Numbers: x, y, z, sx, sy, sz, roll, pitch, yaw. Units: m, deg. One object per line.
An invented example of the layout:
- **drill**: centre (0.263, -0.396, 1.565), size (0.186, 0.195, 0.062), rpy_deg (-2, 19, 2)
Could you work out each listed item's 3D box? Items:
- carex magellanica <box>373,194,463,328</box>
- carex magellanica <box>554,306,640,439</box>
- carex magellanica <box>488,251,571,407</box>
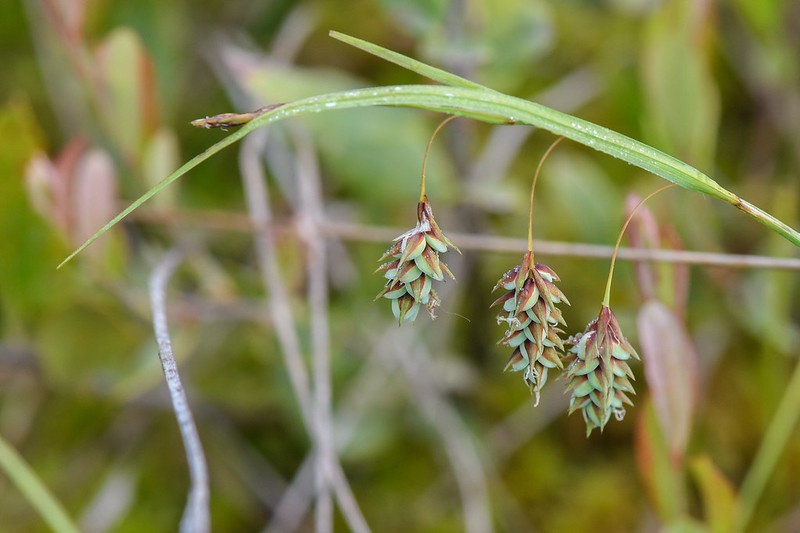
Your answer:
- **carex magellanica**: centre (0.032, -0.015, 1.249), size (0.115, 0.103, 0.177), rpy_deg (7, -92, -54)
- **carex magellanica**: centre (0.292, 0.157, 1.276), size (0.103, 0.109, 0.188), rpy_deg (-3, -70, -16)
- **carex magellanica**: centre (0.191, 0.084, 1.269), size (0.098, 0.089, 0.185), rpy_deg (-20, -67, -41)
